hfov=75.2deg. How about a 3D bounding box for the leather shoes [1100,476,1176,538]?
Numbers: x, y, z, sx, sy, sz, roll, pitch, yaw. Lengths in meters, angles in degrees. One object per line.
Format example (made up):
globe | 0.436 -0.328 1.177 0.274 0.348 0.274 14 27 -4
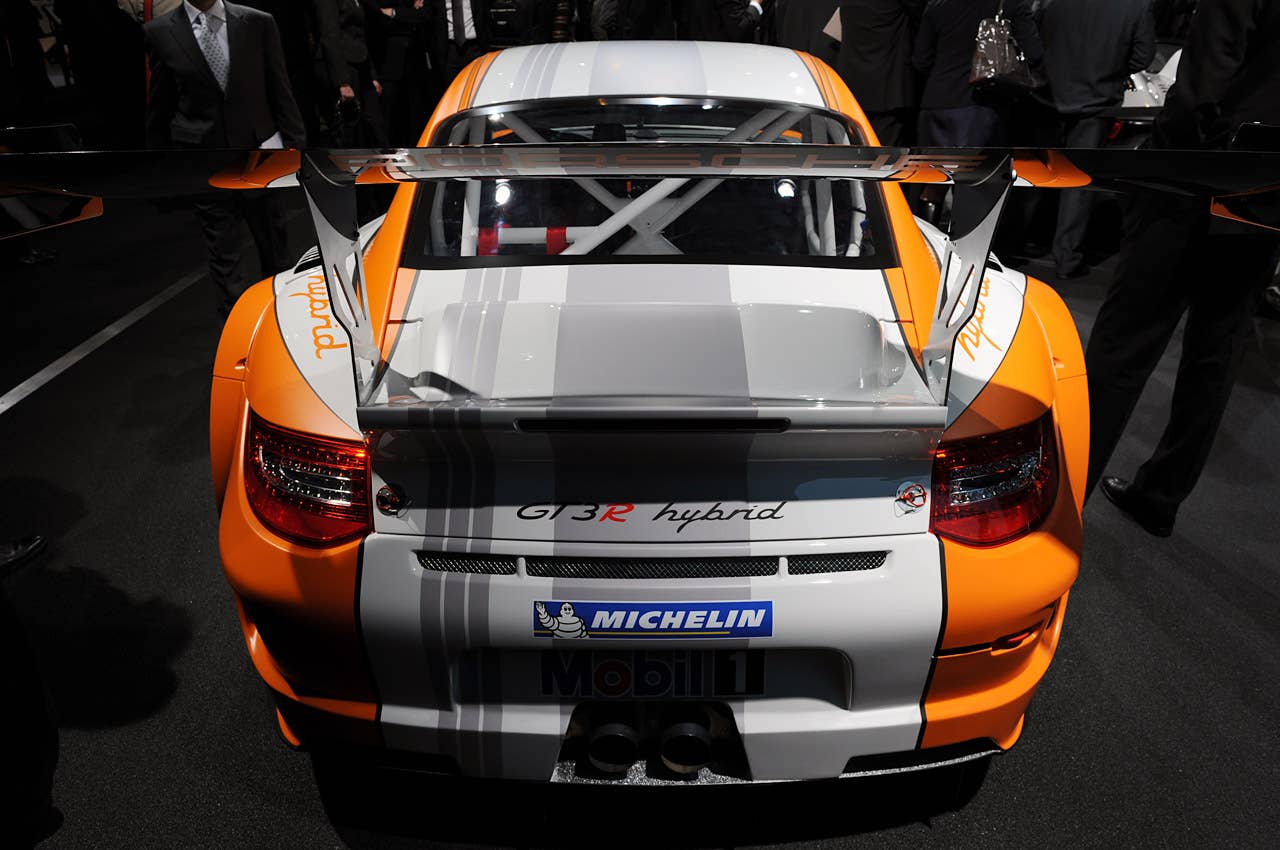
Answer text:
leather shoes | 2.336 0.381 3.963 0.121 0.146 0.346 -36 44 6
